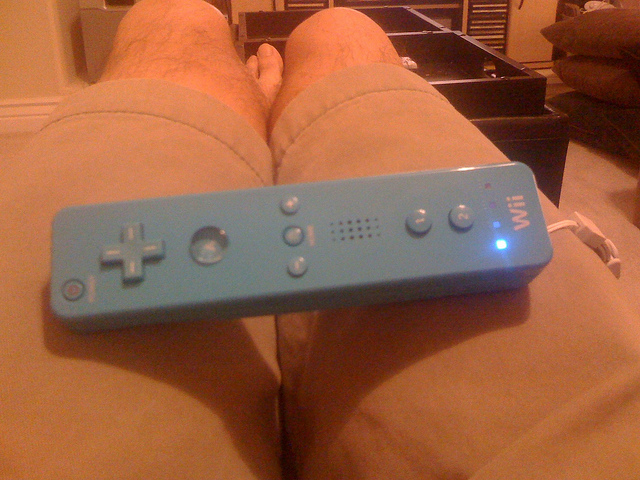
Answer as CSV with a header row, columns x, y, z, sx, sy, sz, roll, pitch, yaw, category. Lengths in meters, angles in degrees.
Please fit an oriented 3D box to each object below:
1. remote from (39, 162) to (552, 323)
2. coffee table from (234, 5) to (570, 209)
x,y,z,sx,sy,sz,roll,pitch,yaw,category
-0.019,-0.003,0.563,0.449,0.079,0.084,-4,38,-4,remote
0.114,-0.394,1.431,0.537,0.246,0.921,-9,40,-10,coffee table
